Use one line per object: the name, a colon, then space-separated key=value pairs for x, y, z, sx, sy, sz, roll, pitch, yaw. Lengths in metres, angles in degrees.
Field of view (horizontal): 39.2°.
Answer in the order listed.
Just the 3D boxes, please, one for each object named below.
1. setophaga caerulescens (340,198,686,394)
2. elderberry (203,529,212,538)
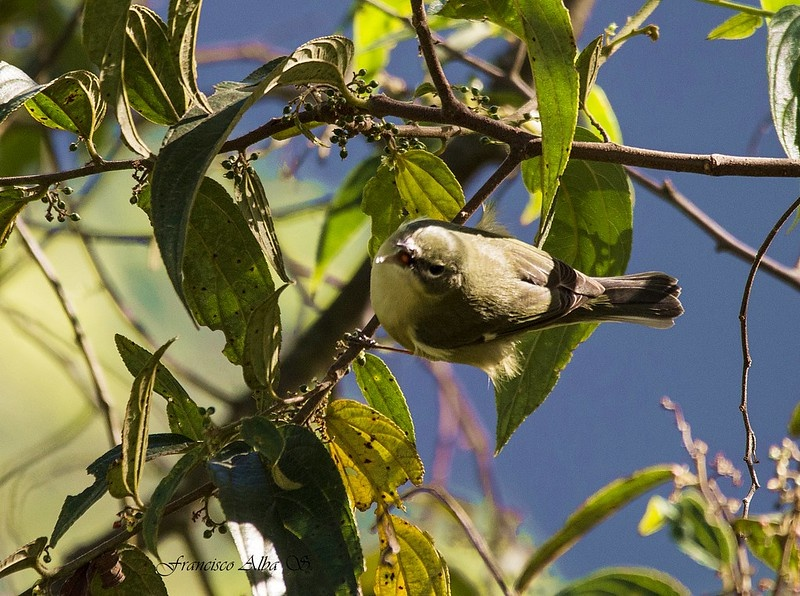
setophaga caerulescens: x=0.471 y=-0.022 z=4.826 sx=1.427 sy=0.821 sz=0.661 roll=1 pitch=-86 yaw=13
elderberry: x=-0.627 y=0.768 z=3.673 sx=0.034 sy=0.017 sz=0.025 roll=-23 pitch=-98 yaw=-8
